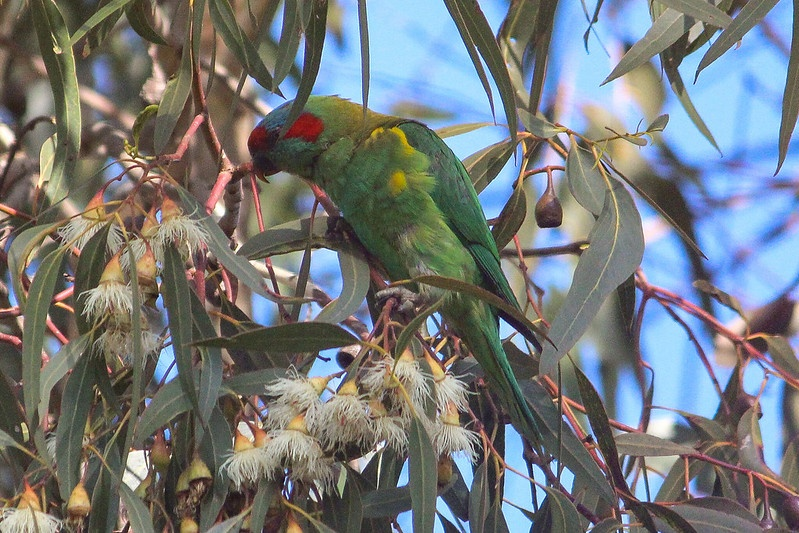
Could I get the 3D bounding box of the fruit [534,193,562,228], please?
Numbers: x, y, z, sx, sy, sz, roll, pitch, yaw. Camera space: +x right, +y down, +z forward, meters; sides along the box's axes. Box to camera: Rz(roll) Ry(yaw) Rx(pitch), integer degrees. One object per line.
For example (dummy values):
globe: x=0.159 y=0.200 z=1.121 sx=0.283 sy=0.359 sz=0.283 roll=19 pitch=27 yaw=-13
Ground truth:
fruit: x=0.704 y=-0.278 z=5.663 sx=0.102 sy=0.212 sz=0.134 roll=7 pitch=-13 yaw=16
